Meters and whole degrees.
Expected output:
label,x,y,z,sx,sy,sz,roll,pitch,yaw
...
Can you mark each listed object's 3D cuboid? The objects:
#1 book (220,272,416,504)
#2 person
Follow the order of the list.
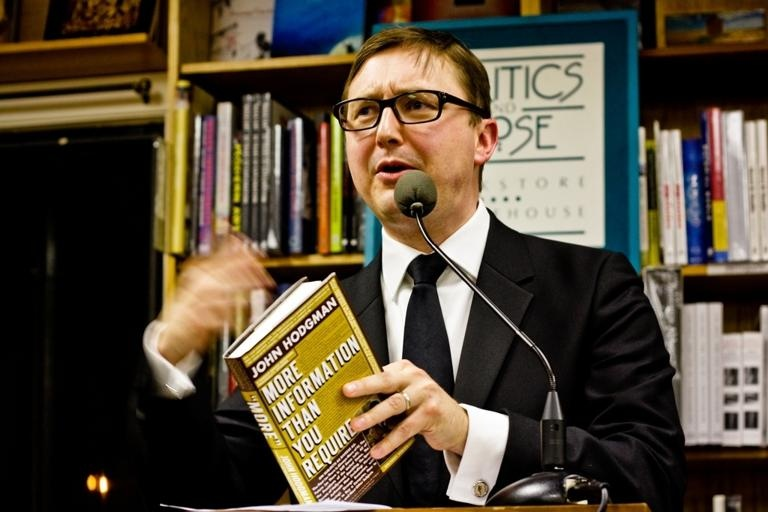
label,x,y,z,sx,sy,sz,roll,pitch,yaw
book,-0.172,0.427,2.695,0.441,0.644,0.592,-29,-8,-20
person,0.139,0.056,2.969,1.040,1.898,0.913,-13,-30,24
